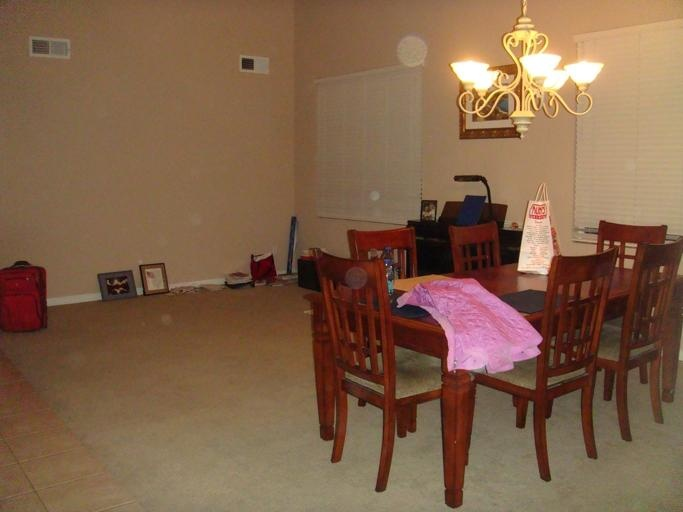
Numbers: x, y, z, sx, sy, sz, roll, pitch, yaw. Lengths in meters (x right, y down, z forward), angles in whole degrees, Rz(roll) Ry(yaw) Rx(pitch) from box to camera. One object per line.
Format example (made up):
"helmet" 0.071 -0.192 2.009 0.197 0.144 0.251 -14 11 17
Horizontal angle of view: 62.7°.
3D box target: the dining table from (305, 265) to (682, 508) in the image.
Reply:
"dining table" 1.024 0.610 3.420 2.375 0.931 1.029 -6 13 -26

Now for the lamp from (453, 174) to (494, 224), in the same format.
"lamp" 1.363 -0.623 5.712 0.289 0.416 0.583 -10 15 -40

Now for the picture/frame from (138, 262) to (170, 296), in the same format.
"picture/frame" -2.257 0.266 6.750 0.312 0.360 0.177 -7 13 -28

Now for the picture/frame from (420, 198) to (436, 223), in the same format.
"picture/frame" 0.944 -0.496 6.109 0.270 0.325 0.034 8 4 44
